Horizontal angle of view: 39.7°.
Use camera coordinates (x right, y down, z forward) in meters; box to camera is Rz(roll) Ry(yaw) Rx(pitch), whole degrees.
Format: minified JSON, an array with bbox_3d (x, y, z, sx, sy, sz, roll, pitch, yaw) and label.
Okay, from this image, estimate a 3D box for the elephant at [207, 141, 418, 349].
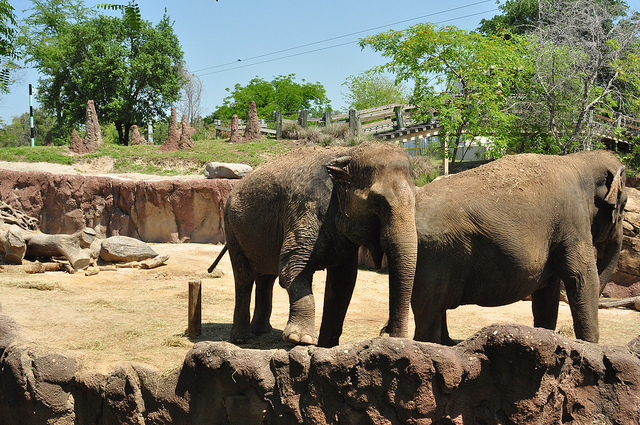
[{"bbox_3d":[-0.063,0.705,18.202,4.178,4.215,1.735,1,4,40],"label":"elephant"}]
